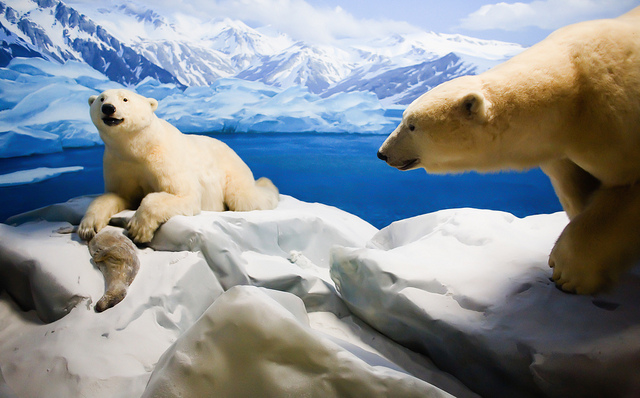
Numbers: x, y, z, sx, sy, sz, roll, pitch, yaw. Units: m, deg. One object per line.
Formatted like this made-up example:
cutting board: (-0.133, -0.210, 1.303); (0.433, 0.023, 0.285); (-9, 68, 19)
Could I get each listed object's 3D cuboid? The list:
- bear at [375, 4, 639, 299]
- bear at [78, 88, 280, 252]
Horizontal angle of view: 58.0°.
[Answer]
bear: (1.259, -0.331, 3.430); (1.269, 1.362, 0.770); (14, 29, 23)
bear: (-0.979, -0.142, 4.457); (0.813, 0.750, 1.694); (-5, -7, 30)
